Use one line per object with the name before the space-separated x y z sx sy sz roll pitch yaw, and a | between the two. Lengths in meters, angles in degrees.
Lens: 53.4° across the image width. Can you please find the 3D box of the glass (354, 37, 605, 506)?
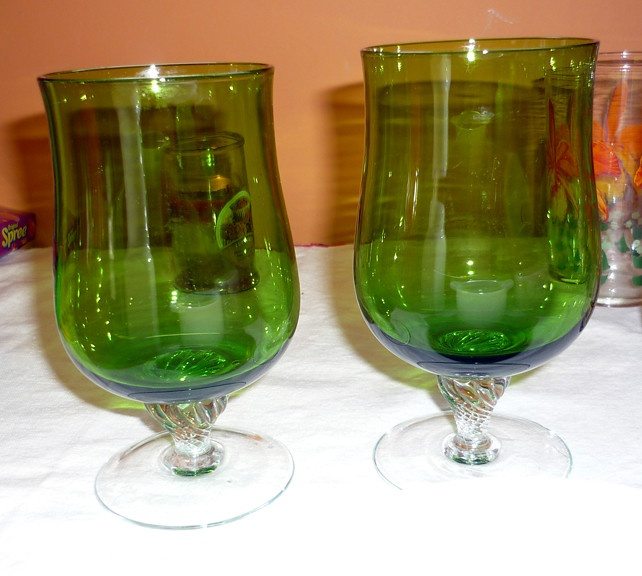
glass | 0.089 -0.018 0.379 0.138 0.260 0.184 0 17 24
